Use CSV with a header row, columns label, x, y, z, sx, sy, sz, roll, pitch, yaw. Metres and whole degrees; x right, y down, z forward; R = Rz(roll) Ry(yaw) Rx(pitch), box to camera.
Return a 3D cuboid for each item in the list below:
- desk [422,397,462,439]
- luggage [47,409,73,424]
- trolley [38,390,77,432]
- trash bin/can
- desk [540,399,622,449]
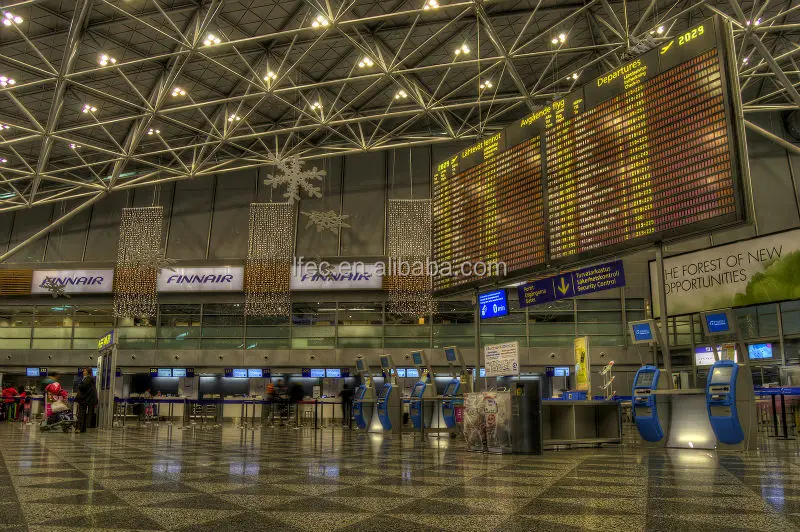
label,x,y,z,sx,sy,sz,roll,pitch,yaw
desk,1.215,4.067,16.951,1.325,1.338,1.556,2,-11,0
luggage,-8.994,4.012,16.582,0.600,0.382,0.865,4,-11,-26
trolley,-9.176,3.919,16.851,0.948,0.905,0.981,-11,-11,26
trash bin/can,1.834,2.692,11.263,1.392,1.299,0.749,-4,-12,13
desk,3.311,3.147,12.471,2.171,0.798,0.832,6,-16,-20
